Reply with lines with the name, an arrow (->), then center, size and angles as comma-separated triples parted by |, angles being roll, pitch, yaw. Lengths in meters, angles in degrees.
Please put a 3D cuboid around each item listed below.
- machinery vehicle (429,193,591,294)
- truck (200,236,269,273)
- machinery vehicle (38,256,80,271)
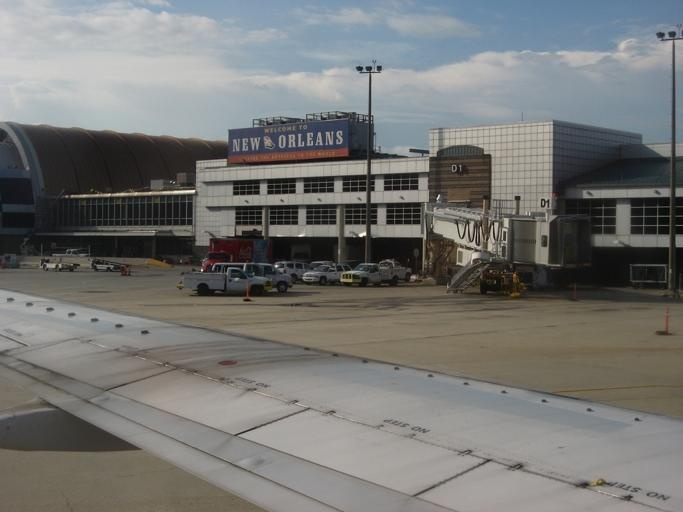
machinery vehicle -> 10.120, -0.828, 50.699 | 4.952, 5.169, 13.394 | 1, 6, -28
truck -> -8.454, 0.067, 65.774 | 4.553, 2.516, 2.976 | -2, 5, -20
machinery vehicle -> -28.250, 0.909, 77.465 | 3.925, 1.148, 2.163 | 7, 7, 41
